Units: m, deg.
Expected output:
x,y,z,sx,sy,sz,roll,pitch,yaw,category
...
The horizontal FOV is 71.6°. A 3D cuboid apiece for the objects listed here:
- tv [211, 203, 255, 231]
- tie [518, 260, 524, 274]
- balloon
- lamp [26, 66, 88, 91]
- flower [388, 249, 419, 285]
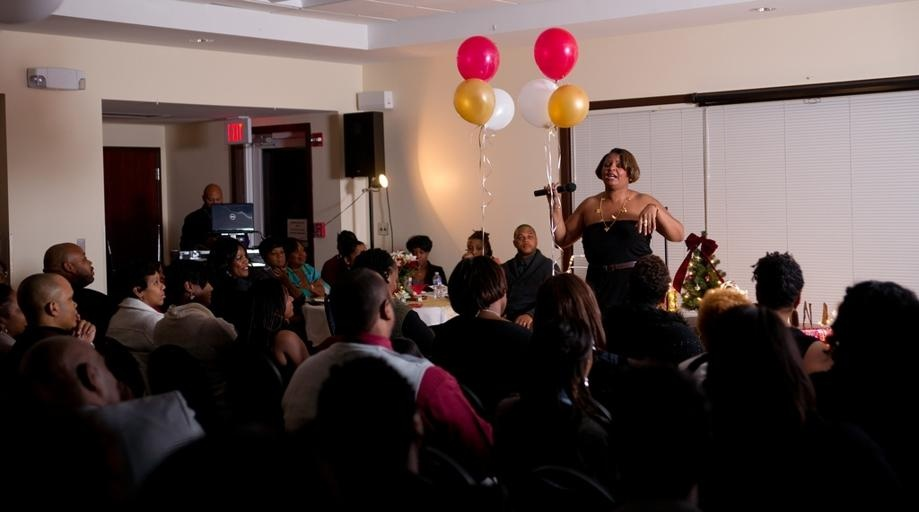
x,y,z,sx,sy,sz,roll,pitch,yaw,category
-3.003,-0.487,8.483,0.658,0.418,0.350,0,-3,-27,tv
0.624,0.111,6.442,0.073,0.097,0.045,-6,-17,14,tie
0.598,-1.732,6.286,1.285,0.938,1.042,2,6,9,balloon
-4.562,-1.996,7.210,0.569,0.254,0.100,-3,7,-31,lamp
-0.571,0.102,6.569,0.329,0.267,0.316,1,-3,-11,flower
